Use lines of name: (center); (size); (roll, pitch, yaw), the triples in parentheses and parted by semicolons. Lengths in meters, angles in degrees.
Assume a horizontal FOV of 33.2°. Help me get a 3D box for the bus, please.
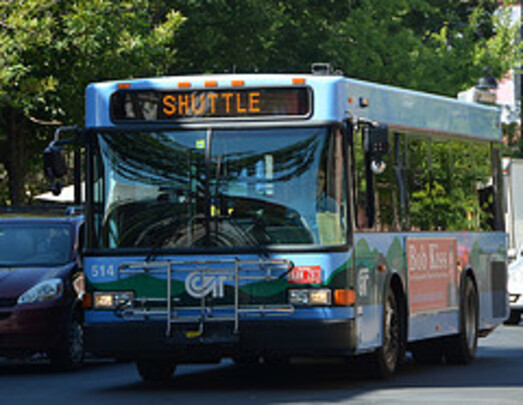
bus: (0.830, 0.510, 11.628); (2.776, 3.919, 6.150); (-3, 0, 44)
